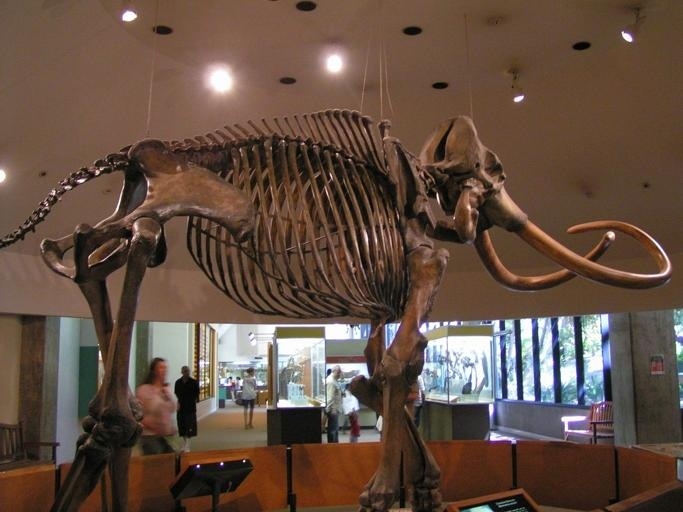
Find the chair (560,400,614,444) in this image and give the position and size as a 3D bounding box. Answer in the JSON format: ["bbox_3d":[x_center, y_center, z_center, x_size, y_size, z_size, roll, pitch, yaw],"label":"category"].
[{"bbox_3d":[4.710,3.174,11.536,0.896,0.782,1.871,-5,-12,20],"label":"chair"}]

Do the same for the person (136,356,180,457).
[{"bbox_3d":[-2.281,1.849,7.436,0.473,1.174,0.618,2,-11,-17],"label":"person"}]

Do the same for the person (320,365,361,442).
[{"bbox_3d":[-0.022,2.715,11.090,0.620,1.329,1.533,-1,-11,0],"label":"person"}]
